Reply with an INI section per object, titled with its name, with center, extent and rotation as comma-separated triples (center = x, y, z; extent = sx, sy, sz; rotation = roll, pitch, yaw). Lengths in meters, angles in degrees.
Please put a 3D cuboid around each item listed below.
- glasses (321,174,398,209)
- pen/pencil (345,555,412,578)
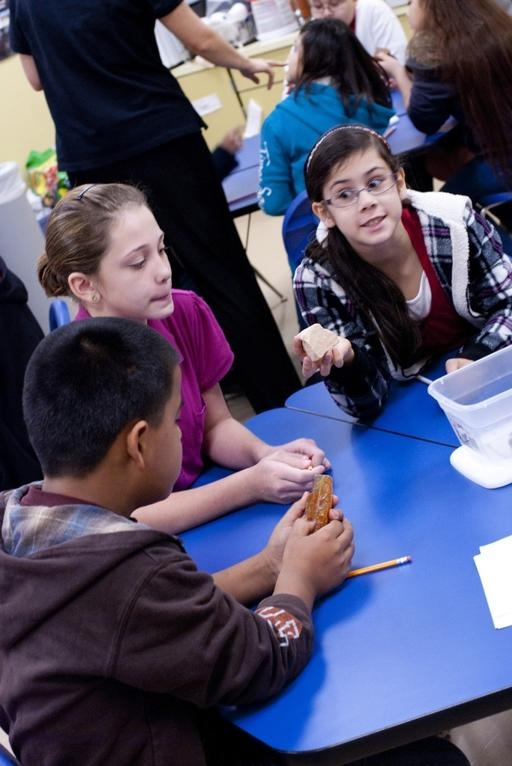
[glasses]
center = 0.219, -0.392, 1.266
extent = 0.137, 0.046, 0.043
rotation = -23, 23, 9
[pen/pencil]
center = 0.173, 0.254, 0.860
extent = 0.088, 0.010, 0.011
rotation = -16, 57, 12
